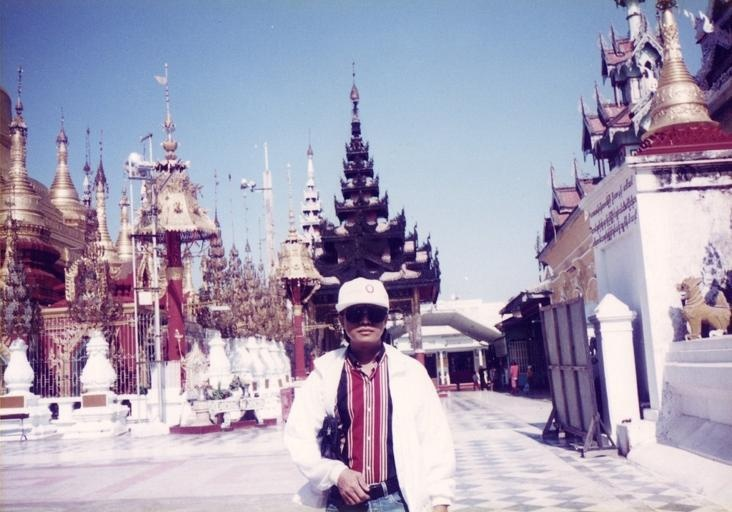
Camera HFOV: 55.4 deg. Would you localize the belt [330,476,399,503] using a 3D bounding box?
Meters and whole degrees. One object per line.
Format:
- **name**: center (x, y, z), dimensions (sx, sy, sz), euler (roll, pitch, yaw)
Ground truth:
- **belt**: center (-0.004, 2.228, 6.555), dimensions (0.398, 0.117, 0.315), euler (-7, -17, -17)
